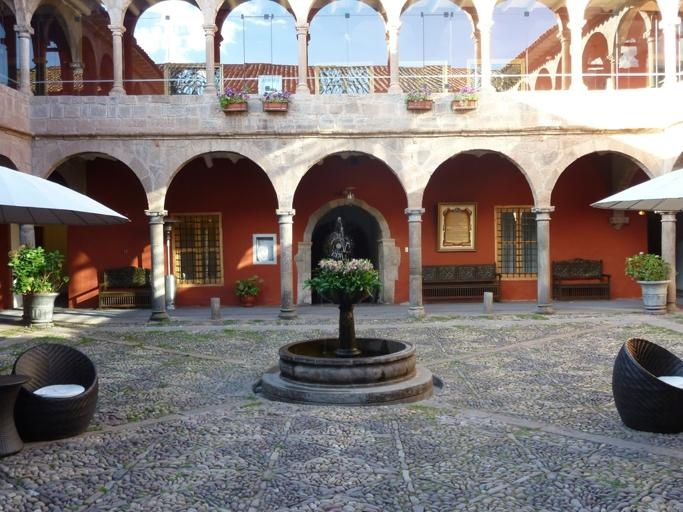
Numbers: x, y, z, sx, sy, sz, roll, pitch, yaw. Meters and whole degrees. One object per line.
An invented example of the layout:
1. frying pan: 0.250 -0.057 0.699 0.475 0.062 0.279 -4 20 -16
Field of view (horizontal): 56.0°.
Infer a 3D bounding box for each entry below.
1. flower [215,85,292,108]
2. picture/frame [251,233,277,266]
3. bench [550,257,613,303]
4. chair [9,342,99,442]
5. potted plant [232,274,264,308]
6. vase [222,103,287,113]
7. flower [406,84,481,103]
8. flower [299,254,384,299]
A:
1. flower: -1.838 -3.306 13.327 0.942 0.257 0.630 0 2 -7
2. picture/frame: -1.911 -0.144 15.874 0.908 0.962 0.073 0 -1 -2
3. bench: 5.929 0.609 15.972 1.216 0.819 0.443 0 -1 -4
4. chair: -3.005 1.425 6.932 1.034 0.911 0.987 2 1 43
5. potted plant: -2.275 0.845 15.667 0.659 0.703 0.419 -1 6 -6
6. vase: -1.798 -3.089 13.280 1.346 0.227 0.199 -1 6 -4
7. flower: 2.163 -3.535 13.911 1.487 0.499 1.340 0 6 6
8. flower: -0.025 0.347 10.698 1.353 0.661 1.264 2 4 2
